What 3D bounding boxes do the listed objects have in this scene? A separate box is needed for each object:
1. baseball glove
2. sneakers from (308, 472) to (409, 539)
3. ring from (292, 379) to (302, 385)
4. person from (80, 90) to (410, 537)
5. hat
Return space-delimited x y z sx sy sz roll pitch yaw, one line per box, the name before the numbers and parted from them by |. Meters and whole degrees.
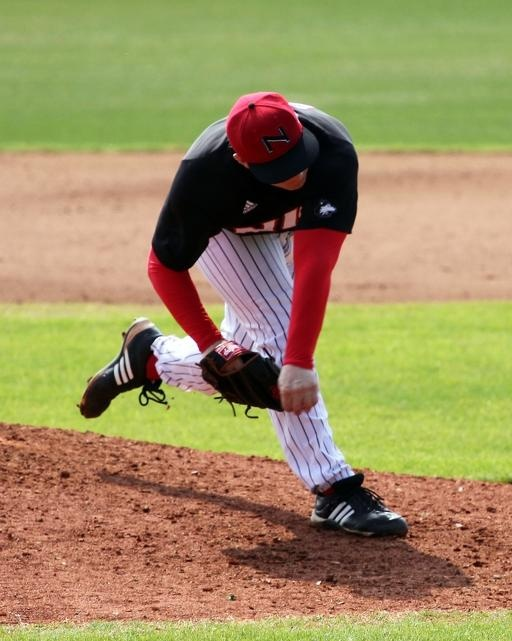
baseball glove | -0.047 0.189 3.441 0.318 0.133 0.240 37 18 12
sneakers | 0.352 0.657 3.600 0.373 0.149 0.170 2 -2 28
ring | 0.130 0.197 3.216 0.020 0.019 0.026 -21 11 -35
person | -0.022 -0.029 3.558 0.730 1.494 1.017 -6 17 -32
hat | 0.050 -0.554 3.095 0.278 0.277 0.203 5 14 7
